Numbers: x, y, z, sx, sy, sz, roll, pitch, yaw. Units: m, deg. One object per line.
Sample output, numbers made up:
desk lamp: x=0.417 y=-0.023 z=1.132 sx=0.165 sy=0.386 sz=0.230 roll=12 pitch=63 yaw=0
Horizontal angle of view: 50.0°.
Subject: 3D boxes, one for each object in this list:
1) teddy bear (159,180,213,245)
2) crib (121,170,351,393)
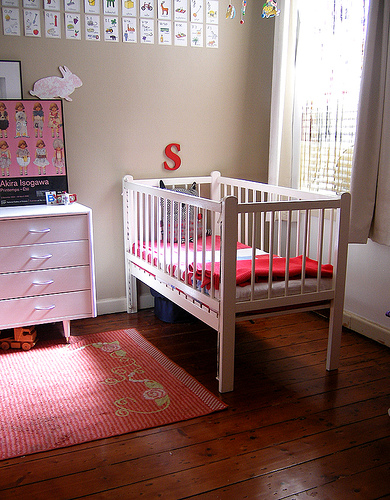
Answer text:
teddy bear: x=-0.082 y=-0.215 z=2.509 sx=0.326 sy=0.374 sz=0.242 roll=-5 pitch=-7 yaw=-23
crib: x=0.147 y=0.062 z=2.451 sx=0.761 sy=0.836 sz=1.281 roll=-5 pitch=13 yaw=-29
